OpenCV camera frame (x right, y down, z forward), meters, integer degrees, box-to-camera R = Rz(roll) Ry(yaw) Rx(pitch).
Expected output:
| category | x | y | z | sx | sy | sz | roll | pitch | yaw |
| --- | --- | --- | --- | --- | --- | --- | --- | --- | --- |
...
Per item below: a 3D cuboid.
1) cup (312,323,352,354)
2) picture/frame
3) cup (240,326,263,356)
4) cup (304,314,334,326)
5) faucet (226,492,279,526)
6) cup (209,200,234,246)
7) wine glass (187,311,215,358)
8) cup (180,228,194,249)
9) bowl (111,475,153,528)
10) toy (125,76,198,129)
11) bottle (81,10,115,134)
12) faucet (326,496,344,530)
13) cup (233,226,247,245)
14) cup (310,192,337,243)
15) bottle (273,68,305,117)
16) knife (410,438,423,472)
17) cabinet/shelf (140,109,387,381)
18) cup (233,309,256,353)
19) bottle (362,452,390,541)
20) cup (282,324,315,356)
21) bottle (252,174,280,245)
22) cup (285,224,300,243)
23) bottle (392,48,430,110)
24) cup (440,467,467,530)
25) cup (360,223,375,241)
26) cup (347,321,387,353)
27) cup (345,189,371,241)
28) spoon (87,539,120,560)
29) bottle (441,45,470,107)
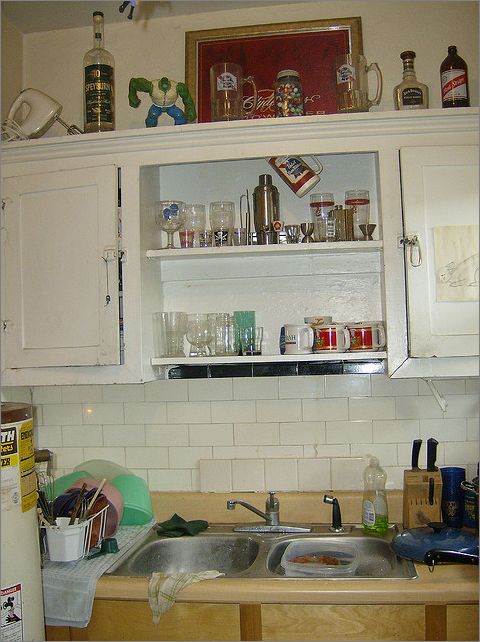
| category | x | y | z | sx | sy | sz | roll | pitch | yaw |
| --- | --- | --- | --- | --- | --- | --- | --- | --- | --- |
| cup | 0.281 | 0.054 | 1.928 | 0.069 | 0.071 | 0.106 | 3 | -2 | -40 |
| picture/frame | 0.145 | -0.828 | 2.077 | 0.518 | 0.282 | 0.025 | -2 | -3 | 13 |
| cup | 0.039 | 0.061 | 1.959 | 0.073 | 0.087 | 0.081 | -5 | 1 | -5 |
| cup | 0.242 | 0.001 | 1.950 | 0.046 | 0.028 | 0.045 | -1 | -4 | 0 |
| faucet | 0.063 | 0.616 | 2.031 | 0.193 | 0.106 | 0.089 | -6 | 1 | -43 |
| cup | -0.053 | -0.309 | 2.017 | 0.132 | 0.146 | 0.128 | 2 | 5 | 0 |
| wine glass | -0.126 | 0.048 | 2.010 | 0.104 | 0.151 | 0.099 | 0 | 10 | -6 |
| cup | -0.167 | -0.264 | 1.991 | 0.054 | 0.056 | 0.053 | 0 | -7 | 0 |
| bowl | -0.350 | 0.597 | 2.085 | 0.160 | 0.092 | 0.152 | 13 | 18 | -5 |
| toy | -0.246 | -0.683 | 1.993 | 0.225 | 0.072 | 0.226 | -1 | -35 | -8 |
| bottle | -0.471 | -0.817 | 2.067 | 0.107 | 0.420 | 0.347 | -5 | 1 | -12 |
| faucet | 0.303 | 0.607 | 2.016 | 0.052 | 0.114 | 0.117 | -5 | 1 | 8 |
| cup | 0.002 | -0.266 | 1.987 | 0.048 | 0.055 | 0.128 | -5 | 1 | 2 |
| cup | 0.273 | -0.327 | 1.985 | 0.089 | 0.141 | 0.089 | -5 | 6 | 1 |
| bottle | 0.159 | -0.718 | 1.988 | 0.097 | 0.143 | 0.090 | -4 | 9 | 1 |
| knife | 0.562 | 0.422 | 1.984 | 0.034 | 0.091 | 0.082 | -5 | 1 | 14 |
| cabinet/shelf | 0.098 | -0.230 | 1.994 | 0.993 | 0.895 | 0.314 | -1 | 0 | 3 |
| cup | 0.000 | 0.033 | 2.017 | 0.088 | 0.146 | 0.089 | 1 | -7 | 0 |
| bottle | 0.430 | 0.552 | 2.010 | 0.086 | 0.226 | 0.172 | -5 | 1 | 11 |
| cup | 0.183 | 0.054 | 1.913 | 0.092 | 0.089 | 0.086 | -5 | 1 | 0 |
| bottle | 0.088 | -0.345 | 2.000 | 0.080 | 0.215 | 0.106 | -5 | 1 | 2 |
| cup | 0.168 | -0.274 | 1.952 | 0.055 | 0.057 | 0.055 | 0 | -3 | 0 |
| bottle | 0.519 | -0.728 | 1.900 | 0.101 | 0.184 | 0.201 | -5 | 1 | 15 |
| cup | 0.667 | 0.547 | 1.949 | 0.078 | 0.173 | 0.097 | -5 | 1 | 17 |
| cup | 0.390 | -0.275 | 1.900 | 0.054 | 0.045 | 0.054 | -1 | -5 | 0 |
| cup | 0.383 | 0.048 | 1.867 | 0.115 | 0.076 | 0.073 | -2 | -3 | 16 |
| cup | 0.374 | -0.335 | 1.961 | 0.074 | 0.153 | 0.136 | -5 | 1 | 10 |
| spoon | -0.380 | 0.652 | 1.795 | 0.034 | 0.024 | 0.069 | -4 | -6 | 36 |
| bottle | 0.644 | -0.735 | 1.879 | 0.077 | 0.190 | 0.208 | -5 | 1 | 19 |
